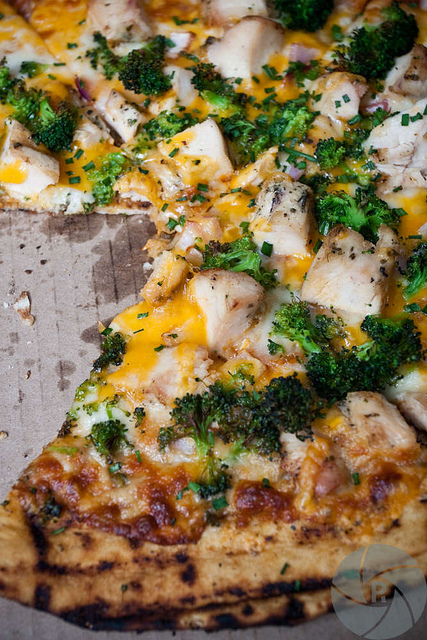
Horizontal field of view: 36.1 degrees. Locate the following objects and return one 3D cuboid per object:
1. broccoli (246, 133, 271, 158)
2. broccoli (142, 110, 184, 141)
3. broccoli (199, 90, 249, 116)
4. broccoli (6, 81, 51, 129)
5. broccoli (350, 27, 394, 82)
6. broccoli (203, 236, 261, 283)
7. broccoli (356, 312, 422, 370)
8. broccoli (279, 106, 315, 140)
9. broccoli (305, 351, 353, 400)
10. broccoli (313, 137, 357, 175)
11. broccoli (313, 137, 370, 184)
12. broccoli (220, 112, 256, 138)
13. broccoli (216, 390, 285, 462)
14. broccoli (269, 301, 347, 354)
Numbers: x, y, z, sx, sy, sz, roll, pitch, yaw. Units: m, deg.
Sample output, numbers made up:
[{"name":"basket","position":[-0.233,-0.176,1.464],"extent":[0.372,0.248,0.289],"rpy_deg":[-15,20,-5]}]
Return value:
[{"name":"broccoli","position":[0.332,-1.337,4.983],"extent":[0.059,0.219,0.130],"rpy_deg":[-34,97,-52]},{"name":"broccoli","position":[-0.395,-1.519,5.130],"extent":[0.288,0.269,0.075],"rpy_deg":[31,7,18]},{"name":"broccoli","position":[0.078,-1.706,5.088],"extent":[0.353,0.072,0.189],"rpy_deg":[18,47,3]},{"name":"broccoli","position":[-1.491,-1.732,5.466],"extent":[0.441,0.383,0.126],"rpy_deg":[19,7,21]},{"name":"broccoli","position":[1.199,-2.084,5.012],"extent":[0.370,0.180,0.374],"rpy_deg":[-11,87,1]},{"name":"broccoli","position":[0.191,-0.426,4.701],"extent":[0.357,0.170,0.338],"rpy_deg":[33,87,34]},{"name":"broccoli","position":[1.149,0.137,4.418],"extent":[0.402,0.210,0.404],"rpy_deg":[-1,21,-14]},{"name":"broccoli","position":[0.650,-1.479,5.050],"extent":[0.223,0.268,0.119],"rpy_deg":[27,9,14]},{"name":"broccoli","position":[0.845,0.374,4.410],"extent":[0.187,0.277,0.312],"rpy_deg":[-28,87,-46]},{"name":"broccoli","position":[0.938,-1.205,4.907],"extent":[0.327,0.188,0.167],"rpy_deg":[20,57,-23]},{"name":"broccoli","position":[1.037,-1.176,4.935],"extent":[0.508,0.264,0.259],"rpy_deg":[25,11,10]},{"name":"broccoli","position":[0.176,-1.488,4.998],"extent":[0.230,0.101,0.196],"rpy_deg":[-17,81,-10]},{"name":"broccoli","position":[0.250,0.770,4.345],"extent":[0.374,0.372,0.121],"rpy_deg":[-17,52,13]},{"name":"broccoli","position":[0.607,0.004,4.510],"extent":[0.408,0.262,0.261],"rpy_deg":[0,1,39]}]
